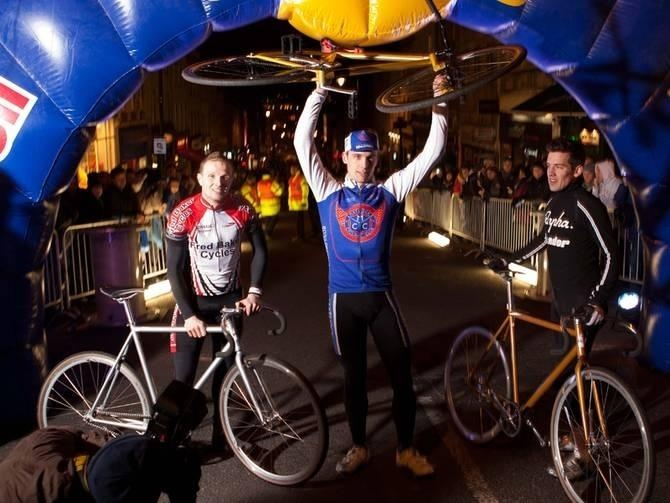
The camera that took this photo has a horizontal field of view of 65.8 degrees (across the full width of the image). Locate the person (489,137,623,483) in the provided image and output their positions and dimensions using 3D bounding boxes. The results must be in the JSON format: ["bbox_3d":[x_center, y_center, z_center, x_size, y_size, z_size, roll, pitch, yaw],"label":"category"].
[{"bbox_3d":[1.980,0.399,4.416,0.705,2.627,1.187,2,13,22],"label":"person"}]

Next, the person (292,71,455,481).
[{"bbox_3d":[0.363,0.469,4.336,0.903,2.890,0.601,0,11,10],"label":"person"}]

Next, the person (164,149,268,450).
[{"bbox_3d":[-1.011,0.530,4.506,0.900,2.672,0.972,12,13,39],"label":"person"}]

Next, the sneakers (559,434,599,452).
[{"bbox_3d":[1.903,1.514,4.075,0.173,0.087,0.261,10,-4,-22],"label":"sneakers"}]

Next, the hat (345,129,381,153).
[{"bbox_3d":[0.203,-0.898,4.200,0.215,0.204,0.405,2,13,-2],"label":"hat"}]

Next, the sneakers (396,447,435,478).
[{"bbox_3d":[0.675,1.758,4.315,0.176,0.145,0.297,7,12,-38],"label":"sneakers"}]
